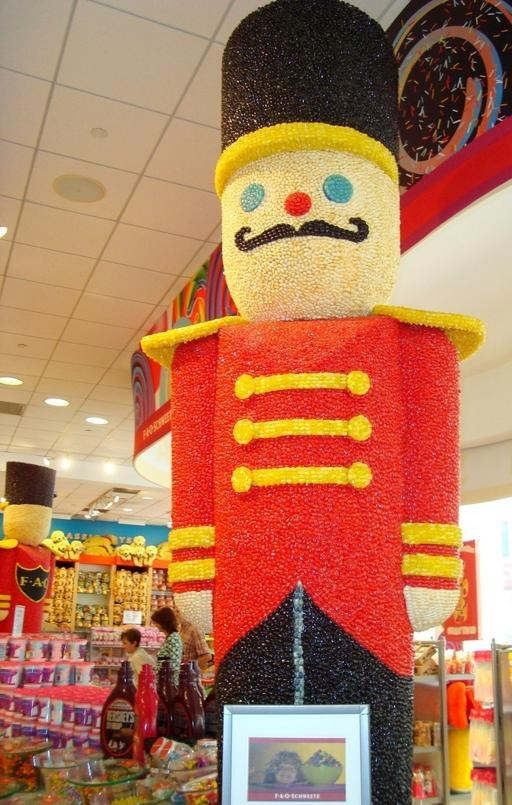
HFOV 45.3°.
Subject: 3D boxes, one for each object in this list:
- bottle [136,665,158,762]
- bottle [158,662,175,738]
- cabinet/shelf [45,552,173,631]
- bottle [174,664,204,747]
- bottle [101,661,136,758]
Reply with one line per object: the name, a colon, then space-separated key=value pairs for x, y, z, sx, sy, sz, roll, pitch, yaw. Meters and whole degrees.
bottle: x=-0.240 y=0.674 z=1.334 sx=0.050 sy=0.183 sz=0.189 roll=4 pitch=-20 yaw=-9
bottle: x=-0.234 y=0.766 z=1.584 sx=0.048 sy=0.168 sz=0.104 roll=4 pitch=-20 yaw=-8
cabinet/shelf: x=-2.286 y=3.026 z=9.667 sx=0.965 sy=1.153 sz=2.243 roll=-16 pitch=-26 yaw=39
bottle: x=-0.166 y=0.758 z=1.566 sx=0.075 sy=0.169 sz=0.197 roll=2 pitch=-20 yaw=-3
bottle: x=-0.309 y=0.697 z=1.389 sx=0.072 sy=0.191 sz=0.167 roll=6 pitch=-21 yaw=-14
